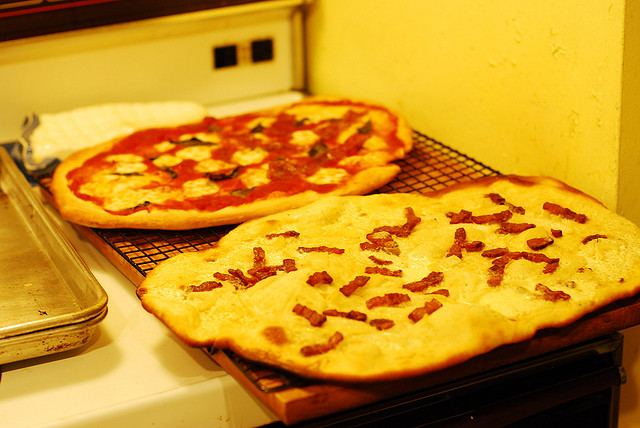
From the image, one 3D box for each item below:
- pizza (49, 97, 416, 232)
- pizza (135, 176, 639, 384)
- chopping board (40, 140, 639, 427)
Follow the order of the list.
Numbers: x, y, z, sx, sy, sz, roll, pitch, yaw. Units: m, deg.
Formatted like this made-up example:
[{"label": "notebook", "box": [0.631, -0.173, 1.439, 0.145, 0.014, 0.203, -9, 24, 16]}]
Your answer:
[{"label": "pizza", "box": [-0.239, -0.142, 1.491, 0.821, 0.073, 0.508, -11, 29, -15]}, {"label": "pizza", "box": [0.174, 0.134, 1.008, 0.848, 0.079, 0.484, -10, 24, -14]}, {"label": "chopping board", "box": [0.048, 0.116, 1.165, 0.948, 0.161, 0.870, -17, 31, -24]}]
